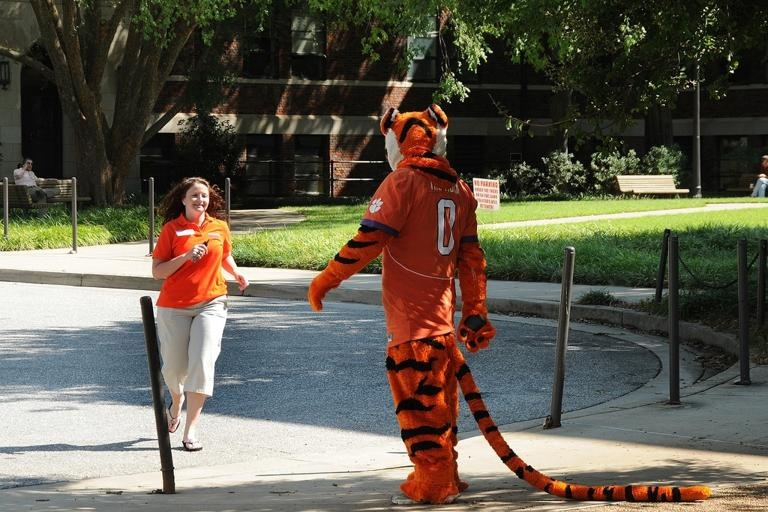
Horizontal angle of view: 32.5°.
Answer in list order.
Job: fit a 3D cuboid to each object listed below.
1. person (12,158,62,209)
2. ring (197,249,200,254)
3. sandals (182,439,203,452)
[{"bbox_3d":[-8.733,-1.903,33.121,1.158,1.178,1.087,0,-1,36],"label":"person"},{"bbox_3d":[-2.203,-0.038,15.683,0.046,0.053,0.017,1,-2,-10],"label":"ring"},{"bbox_3d":[-2.248,2.249,15.519,0.238,0.115,0.214,-4,13,-9],"label":"sandals"}]
